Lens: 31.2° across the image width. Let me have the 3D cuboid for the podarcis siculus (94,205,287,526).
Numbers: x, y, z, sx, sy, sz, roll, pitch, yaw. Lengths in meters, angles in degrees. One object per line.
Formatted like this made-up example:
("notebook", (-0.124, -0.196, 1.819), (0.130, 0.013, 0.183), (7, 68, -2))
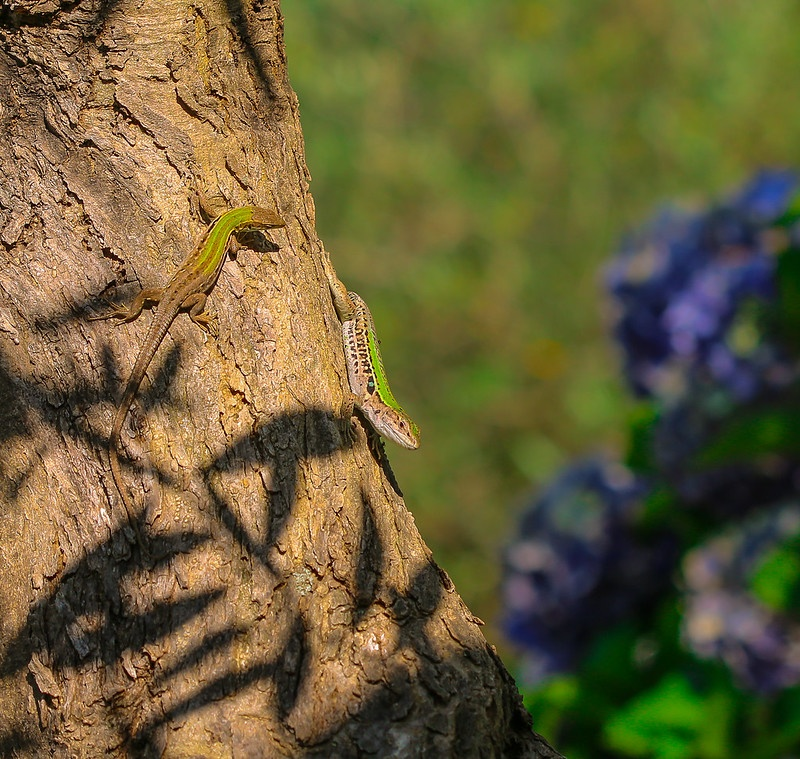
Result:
("podarcis siculus", (-0.703, -0.277, 4.773), (1.157, 0.402, 0.124), (-62, 7, -15))

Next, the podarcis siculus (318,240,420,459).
("podarcis siculus", (-0.135, -0.123, 5.775), (0.127, 0.969, 0.225), (-32, -39, 22))
